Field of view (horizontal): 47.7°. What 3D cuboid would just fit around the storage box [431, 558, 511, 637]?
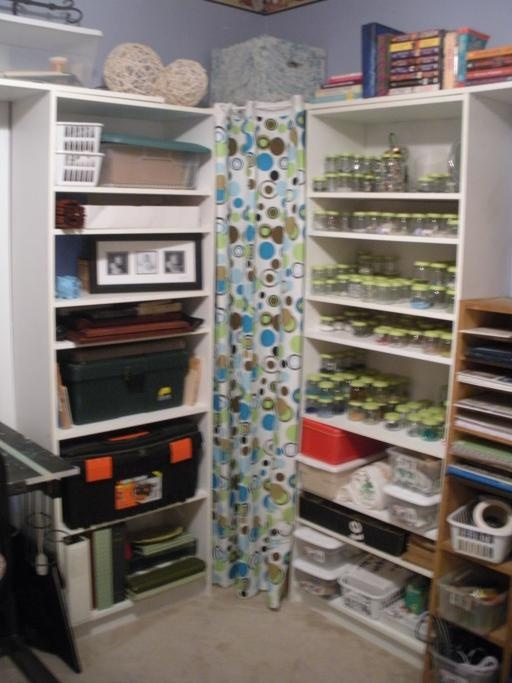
[{"bbox_3d":[0.673,0.771,1.755,0.215,0.091,0.172,2,-2,-44],"label":"storage box"}]

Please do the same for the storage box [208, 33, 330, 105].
[{"bbox_3d":[0.050,-1.041,2.384,0.424,0.241,0.412,-7,12,-31],"label":"storage box"}]

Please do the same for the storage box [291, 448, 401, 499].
[{"bbox_3d":[0.275,0.495,2.175,0.253,0.091,0.176,-8,12,-41],"label":"storage box"}]

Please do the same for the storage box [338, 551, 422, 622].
[{"bbox_3d":[0.430,0.897,2.129,0.145,0.088,0.213,5,2,43],"label":"storage box"}]

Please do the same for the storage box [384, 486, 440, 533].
[{"bbox_3d":[0.511,0.546,1.900,0.160,0.091,0.121,-5,9,-42],"label":"storage box"}]

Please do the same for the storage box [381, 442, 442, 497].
[{"bbox_3d":[0.498,0.430,1.903,0.106,0.083,0.141,-2,5,-44],"label":"storage box"}]

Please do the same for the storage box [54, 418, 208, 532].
[{"bbox_3d":[-0.493,0.386,2.134,0.486,0.303,0.329,-8,12,-40],"label":"storage box"}]
